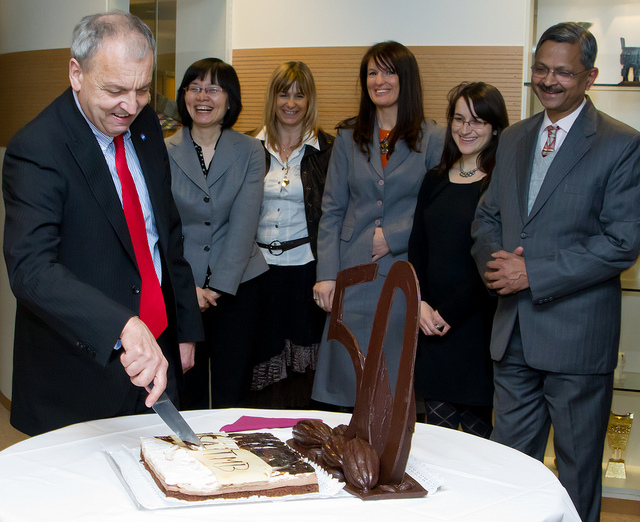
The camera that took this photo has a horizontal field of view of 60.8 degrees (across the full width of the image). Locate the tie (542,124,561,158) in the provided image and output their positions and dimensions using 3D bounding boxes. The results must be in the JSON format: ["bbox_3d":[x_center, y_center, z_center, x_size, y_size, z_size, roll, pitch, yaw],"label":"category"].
[{"bbox_3d":[0.925,-0.482,2.195,0.058,0.121,0.034,1,-16,38],"label":"tie"}]

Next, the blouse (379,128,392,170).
[{"bbox_3d":[0.332,-0.588,2.806,0.051,0.170,0.112,-2,4,-13],"label":"blouse"}]

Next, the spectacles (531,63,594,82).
[{"bbox_3d":[0.889,-0.717,2.081,0.147,0.066,0.038,7,8,34],"label":"spectacles"}]

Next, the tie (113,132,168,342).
[{"bbox_3d":[-0.584,-0.142,1.702,0.036,0.768,0.101,-20,-10,39],"label":"tie"}]

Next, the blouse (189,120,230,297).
[{"bbox_3d":[-0.545,-0.272,2.708,0.157,0.793,0.215,0,13,-12],"label":"blouse"}]
